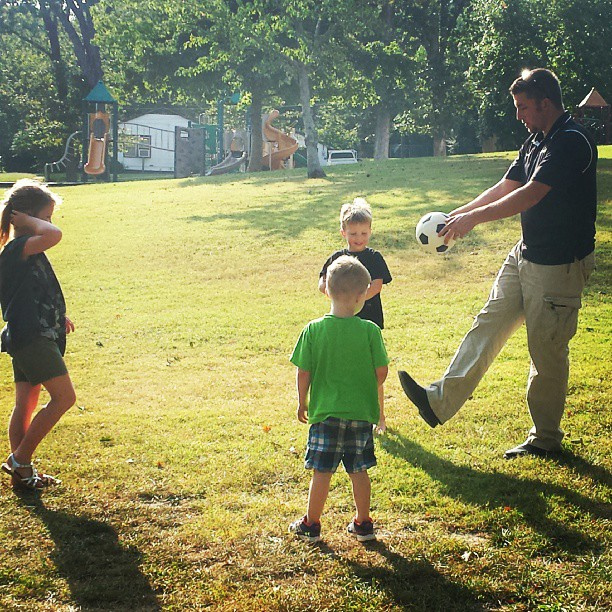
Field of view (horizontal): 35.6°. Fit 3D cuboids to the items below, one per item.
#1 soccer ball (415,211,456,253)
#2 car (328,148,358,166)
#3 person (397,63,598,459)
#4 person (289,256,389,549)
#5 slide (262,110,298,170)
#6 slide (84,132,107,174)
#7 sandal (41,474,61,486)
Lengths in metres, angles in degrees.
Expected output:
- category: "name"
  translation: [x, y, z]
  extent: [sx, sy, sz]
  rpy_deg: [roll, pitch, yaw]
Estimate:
- category: "soccer ball"
  translation: [0.941, -0.573, 7.173]
  extent: [0.307, 0.349, 0.305]
  rpy_deg: [-1, -2, 0]
- category: "car"
  translation: [1.692, -7.273, 46.237]
  extent: [0.927, 0.673, 1.955]
  rpy_deg: [-1, 18, 1]
- category: "person"
  translation: [1.431, -0.280, 6.519]
  extent: [1.075, 2.614, 0.820]
  rpy_deg: [0, 13, 14]
- category: "person"
  translation: [0.196, 0.550, 5.674]
  extent: [0.599, 1.652, 0.616]
  rpy_deg: [-3, 13, 3]
- category: "slide"
  translation: [-1.213, -7.350, 41.963]
  extent: [1.489, 2.680, 2.718]
  rpy_deg: [-3, 13, 1]
- category: "slide"
  translation: [-6.926, -4.984, 31.520]
  extent: [0.579, 1.645, 0.893]
  rpy_deg: [0, 7, -17]
- category: "sandal"
  translation: [-1.704, 1.143, 6.270]
  extent: [0.106, 0.023, 0.058]
  rpy_deg: [33, 49, 8]
